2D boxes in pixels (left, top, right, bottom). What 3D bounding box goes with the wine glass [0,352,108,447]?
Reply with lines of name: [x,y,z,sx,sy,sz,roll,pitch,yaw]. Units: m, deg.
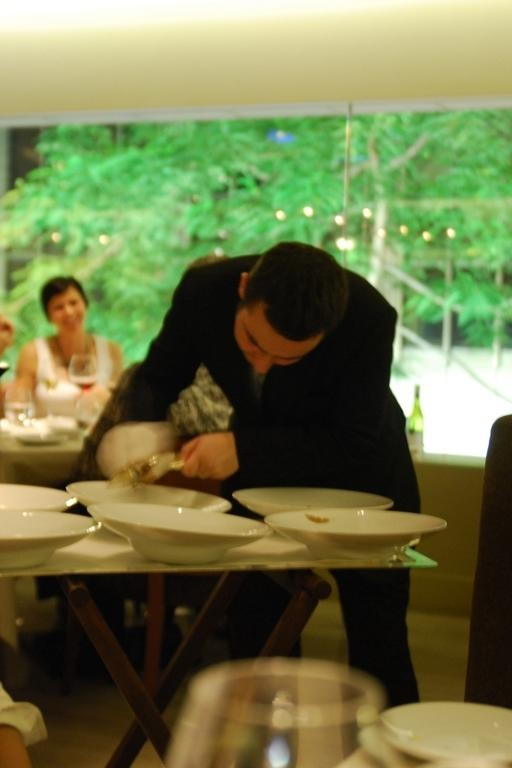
wine glass: [-0.725,0.064,2.584,0.323,0.380,0.163,6,-4,4]
